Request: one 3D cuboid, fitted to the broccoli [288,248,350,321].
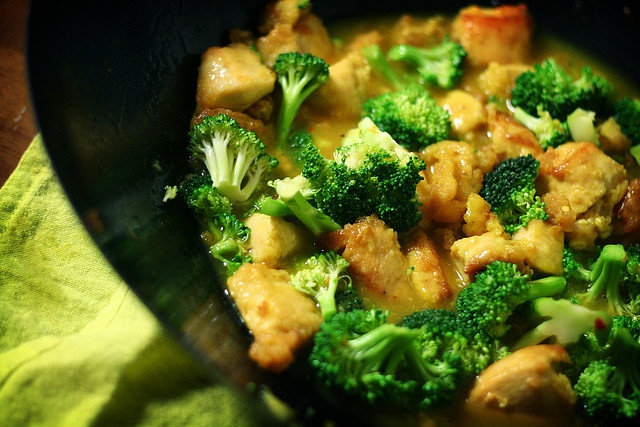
[{"bbox_3d":[0.036,0.424,3.601,0.390,0.350,0.439,-20,77,6],"label":"broccoli"}]
